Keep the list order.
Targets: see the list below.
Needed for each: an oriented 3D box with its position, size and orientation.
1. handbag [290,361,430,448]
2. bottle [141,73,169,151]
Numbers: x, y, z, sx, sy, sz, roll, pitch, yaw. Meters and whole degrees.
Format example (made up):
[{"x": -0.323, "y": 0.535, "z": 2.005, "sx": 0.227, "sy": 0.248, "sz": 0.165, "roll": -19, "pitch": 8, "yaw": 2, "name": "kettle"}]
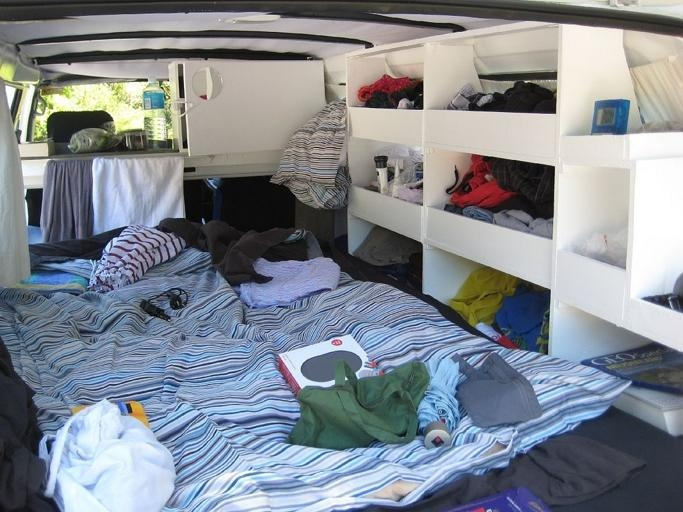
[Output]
[{"x": 0.075, "y": 0.441, "z": 1.443, "sx": 0.284, "sy": 0.102, "sz": 0.247, "roll": -16, "pitch": 13, "yaw": -30, "name": "handbag"}, {"x": -1.351, "y": -1.025, "z": 3.473, "sx": 0.162, "sy": 0.658, "sz": 0.347, "roll": -8, "pitch": -6, "yaw": -19, "name": "bottle"}]
